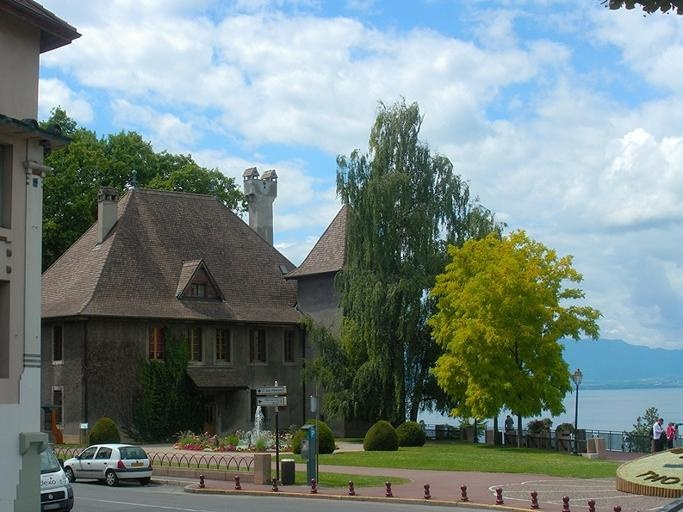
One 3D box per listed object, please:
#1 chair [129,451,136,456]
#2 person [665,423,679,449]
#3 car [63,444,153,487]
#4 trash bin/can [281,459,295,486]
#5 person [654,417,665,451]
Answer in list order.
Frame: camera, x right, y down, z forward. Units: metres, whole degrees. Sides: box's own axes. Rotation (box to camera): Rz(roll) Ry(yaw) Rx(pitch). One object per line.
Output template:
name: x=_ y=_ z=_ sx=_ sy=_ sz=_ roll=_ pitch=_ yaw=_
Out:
chair: x=-8.895 y=8.399 z=42.767 sx=0.232 sy=0.246 sz=0.421 roll=0 pitch=-9 yaw=-8
person: x=17.135 y=9.268 z=52.160 sx=0.592 sy=1.379 sz=2.630 roll=-4 pitch=-13 yaw=18
car: x=-10.174 y=9.021 z=43.521 sx=4.111 sy=1.734 sz=1.830 roll=-8 pitch=-14 yaw=29
trash bin/can: x=-2.177 y=8.828 z=41.266 sx=0.573 sy=0.991 sz=0.618 roll=1 pitch=-11 yaw=-7
person: x=16.519 y=9.315 z=52.497 sx=0.578 sy=1.646 sz=1.370 roll=-4 pitch=-12 yaw=18
